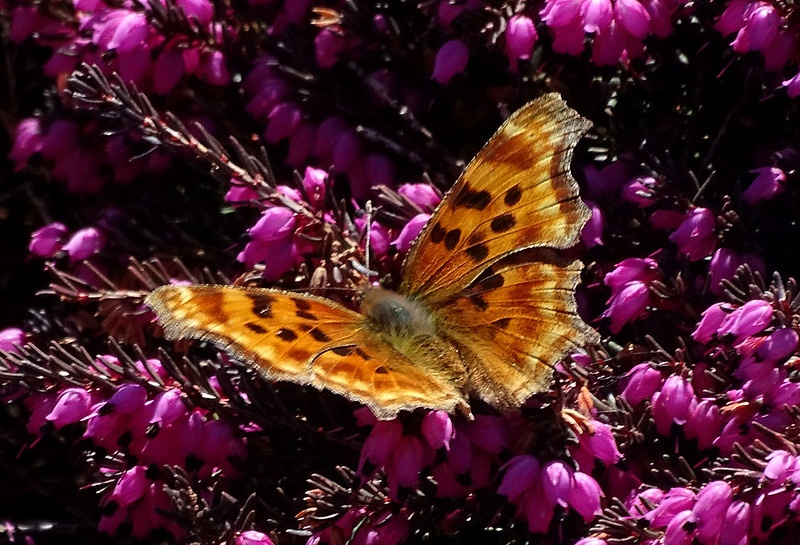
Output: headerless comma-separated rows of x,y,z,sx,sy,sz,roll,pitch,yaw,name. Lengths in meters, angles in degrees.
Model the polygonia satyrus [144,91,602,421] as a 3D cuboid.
0.018,0.060,1.503,0.893,0.186,0.447,-25,59,-10,polygonia satyrus
